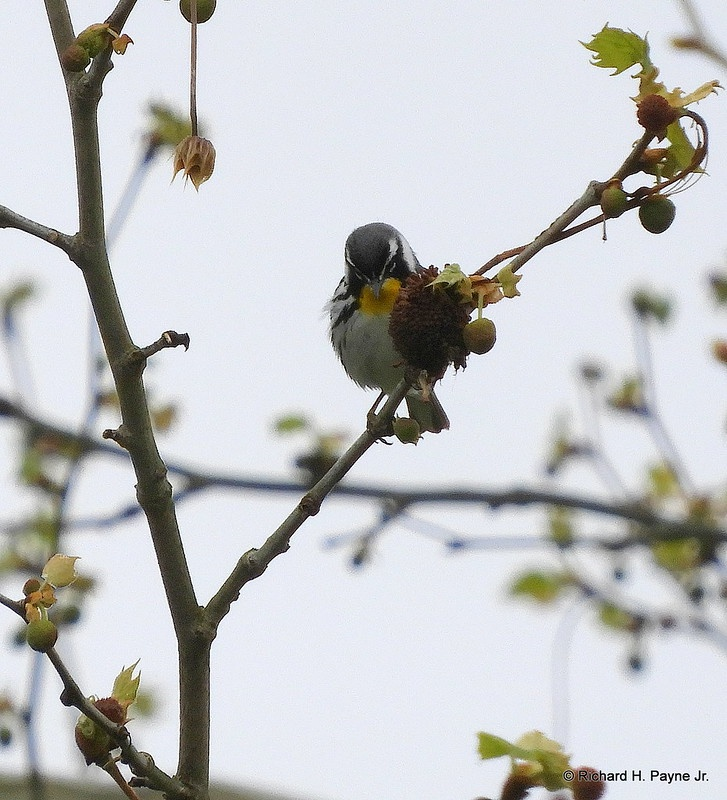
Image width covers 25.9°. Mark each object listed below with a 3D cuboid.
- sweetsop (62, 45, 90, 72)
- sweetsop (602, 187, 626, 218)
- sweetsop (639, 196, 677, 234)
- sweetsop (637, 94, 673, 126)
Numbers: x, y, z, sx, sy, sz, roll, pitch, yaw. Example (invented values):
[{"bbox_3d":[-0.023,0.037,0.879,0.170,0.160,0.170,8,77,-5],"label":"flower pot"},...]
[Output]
[{"bbox_3d":[-0.585,-0.696,3.234,0.045,0.061,0.058,1,-93,3],"label":"sweetsop"},{"bbox_3d":[0.500,-0.397,3.183,0.049,0.056,0.077,2,-84,9],"label":"sweetsop"},{"bbox_3d":[0.590,-0.353,3.184,0.069,0.101,0.069,-8,-52,6],"label":"sweetsop"},{"bbox_3d":[0.581,-0.578,3.168,0.078,0.063,0.054,2,-53,-1],"label":"sweetsop"}]
